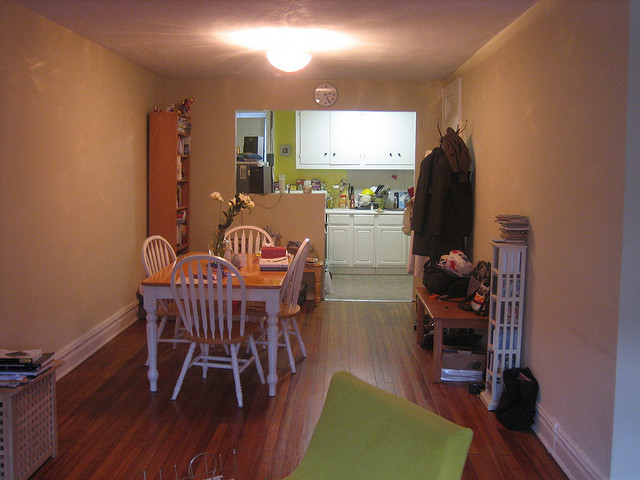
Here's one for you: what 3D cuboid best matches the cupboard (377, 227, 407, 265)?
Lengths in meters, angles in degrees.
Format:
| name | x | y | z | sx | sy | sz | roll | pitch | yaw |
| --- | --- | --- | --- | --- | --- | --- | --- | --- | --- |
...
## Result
| name | x | y | z | sx | sy | sz | roll | pitch | yaw |
| --- | --- | --- | --- | --- | --- | --- | --- | --- | --- |
| cupboard | 1.148 | -0.002 | 7.742 | 0.513 | 0.801 | 0.421 | 2 | 30 | 11 |

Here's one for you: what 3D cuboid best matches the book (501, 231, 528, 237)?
| name | x | y | z | sx | sy | sz | roll | pitch | yaw |
| --- | --- | --- | --- | --- | --- | --- | --- | --- | --- |
| book | 1.373 | -0.033 | 3.438 | 0.161 | 0.026 | 0.057 | 4 | 8 | 23 |

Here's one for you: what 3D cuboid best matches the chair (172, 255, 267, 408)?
| name | x | y | z | sx | sy | sz | roll | pitch | yaw |
| --- | --- | --- | --- | --- | --- | --- | --- | --- | --- |
| chair | -0.751 | 0.652 | 3.722 | 0.557 | 1.140 | 0.686 | 3 | 6 | 14 |

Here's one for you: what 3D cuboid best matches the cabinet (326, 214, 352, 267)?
| name | x | y | z | sx | sy | sz | roll | pitch | yaw |
| --- | --- | --- | --- | --- | --- | --- | --- | --- | --- |
| cabinet | 0.333 | 0.109 | 7.777 | 0.475 | 1.010 | 0.543 | 2 | -23 | 1 |

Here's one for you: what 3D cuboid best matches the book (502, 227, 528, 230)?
| name | x | y | z | sx | sy | sz | roll | pitch | yaw |
| --- | --- | --- | --- | --- | --- | --- | --- | --- | --- |
| book | 1.379 | -0.081 | 3.432 | 0.148 | 0.017 | 0.037 | 1 | 7 | -1 |

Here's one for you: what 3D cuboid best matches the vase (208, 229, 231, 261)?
| name | x | y | z | sx | sy | sz | roll | pitch | yaw |
| --- | --- | --- | --- | --- | --- | --- | --- | --- | --- |
| vase | -0.830 | 0.066 | 3.973 | 0.192 | 0.311 | 0.177 | -9 | 8 | -42 |

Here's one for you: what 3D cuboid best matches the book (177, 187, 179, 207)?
| name | x | y | z | sx | sy | sz | roll | pitch | yaw |
| --- | --- | --- | --- | --- | --- | --- | --- | --- | --- |
| book | -1.635 | -0.520 | 5.640 | 0.016 | 0.179 | 0.172 | -1 | 7 | -16 |

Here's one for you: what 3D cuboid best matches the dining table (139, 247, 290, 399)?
| name | x | y | z | sx | sy | sz | roll | pitch | yaw |
| --- | --- | --- | --- | --- | --- | --- | --- | --- | --- |
| dining table | -0.769 | 0.487 | 4.085 | 0.864 | 0.891 | 1.398 | 1 | 2 | 7 |

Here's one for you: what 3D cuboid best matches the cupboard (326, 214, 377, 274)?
| name | x | y | z | sx | sy | sz | roll | pitch | yaw |
| --- | --- | --- | --- | --- | --- | --- | --- | --- | --- |
| cupboard | 0.516 | 0.008 | 7.798 | 0.770 | 0.981 | 0.508 | 1 | 12 | 5 |

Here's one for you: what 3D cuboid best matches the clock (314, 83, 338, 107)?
| name | x | y | z | sx | sy | sz | roll | pitch | yaw |
| --- | --- | --- | --- | --- | --- | --- | --- | --- | --- |
| clock | 0.076 | -1.737 | 5.784 | 0.243 | 0.267 | 0.034 | -2 | 14 | -8 |

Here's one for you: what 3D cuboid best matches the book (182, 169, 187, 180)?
| name | x | y | z | sx | sy | sz | roll | pitch | yaw |
| --- | --- | --- | --- | --- | --- | --- | --- | --- | --- |
| book | -1.611 | -0.791 | 5.837 | 0.056 | 0.112 | 0.060 | -3 | 8 | -30 |
